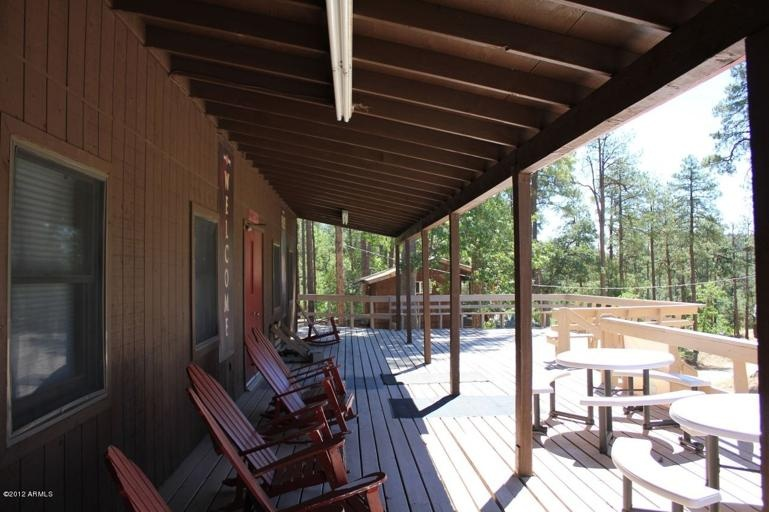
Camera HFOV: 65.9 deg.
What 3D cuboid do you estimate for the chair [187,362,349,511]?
[{"bbox_3d":[-0.952,1.564,5.017,1.061,0.946,0.815,-6,10,-17],"label":"chair"}]

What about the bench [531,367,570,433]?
[{"bbox_3d":[1.839,1.549,6.685,0.411,0.370,1.010,-3,0,9],"label":"bench"}]

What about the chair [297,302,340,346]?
[{"bbox_3d":[-1.425,1.439,12.683,0.839,0.973,0.727,-4,-4,-1],"label":"chair"}]

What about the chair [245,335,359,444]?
[{"bbox_3d":[-0.893,1.439,6.586,1.118,1.027,0.789,2,2,-10],"label":"chair"}]

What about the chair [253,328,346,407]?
[{"bbox_3d":[-0.947,1.417,6.775,1.106,0.944,0.763,0,8,5],"label":"chair"}]
